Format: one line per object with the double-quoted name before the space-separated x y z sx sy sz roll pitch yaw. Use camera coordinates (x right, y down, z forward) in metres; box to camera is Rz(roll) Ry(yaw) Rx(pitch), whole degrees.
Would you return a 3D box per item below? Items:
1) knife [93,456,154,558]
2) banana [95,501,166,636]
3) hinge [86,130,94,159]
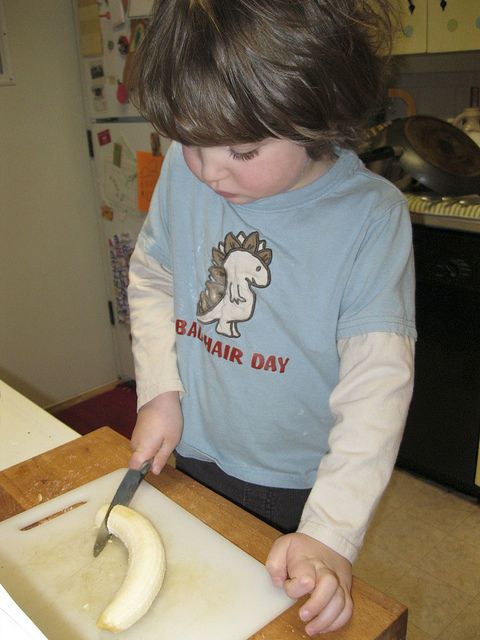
"knife" -0.144 0.236 0.690 0.022 0.007 0.143 -2 30 21
"banana" -0.117 0.266 0.574 0.067 0.032 0.138 2 24 -13
"hinge" -0.710 -0.835 2.563 0.043 0.131 0.017 22 37 35
